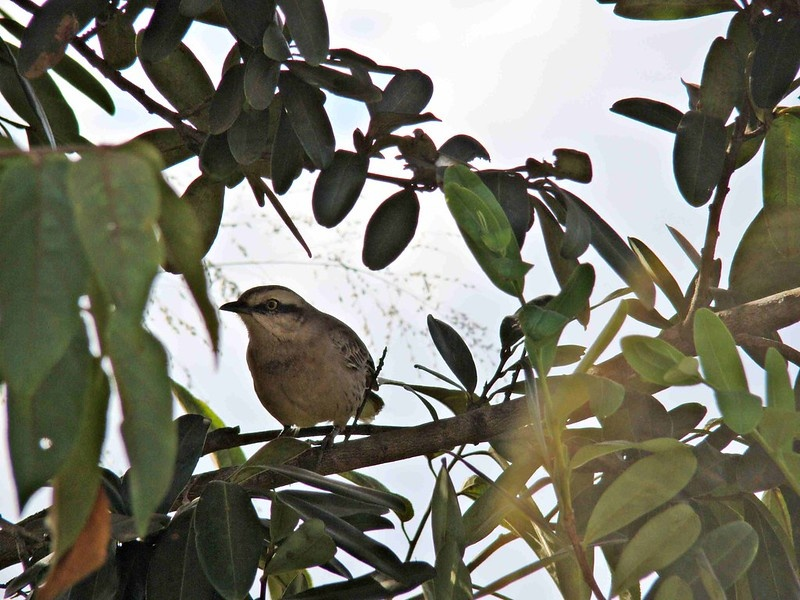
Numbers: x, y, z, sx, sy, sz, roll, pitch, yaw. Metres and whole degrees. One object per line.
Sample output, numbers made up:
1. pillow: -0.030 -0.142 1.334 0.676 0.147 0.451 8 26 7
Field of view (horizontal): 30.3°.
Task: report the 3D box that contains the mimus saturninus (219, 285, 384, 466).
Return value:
1. mimus saturninus: -0.357 0.214 5.978 0.426 0.859 0.722 2 -80 30
